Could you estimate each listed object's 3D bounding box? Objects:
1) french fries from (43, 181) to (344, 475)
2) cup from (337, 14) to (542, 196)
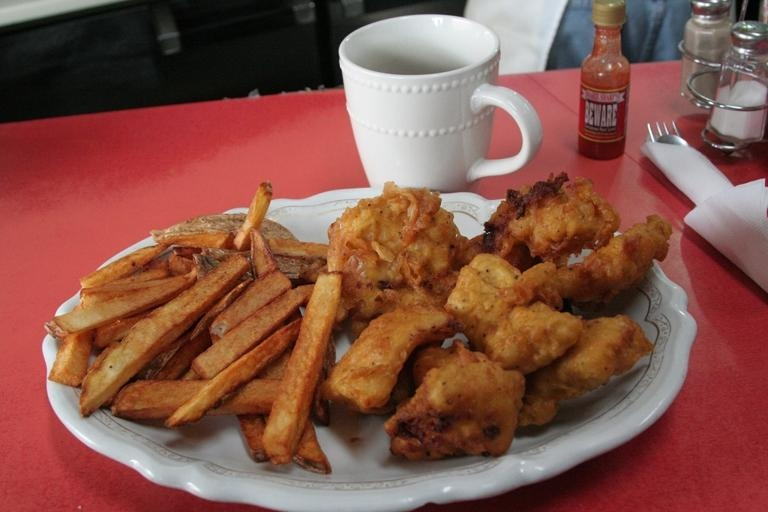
[{"bbox_3d":[-0.377,0.141,1.412,0.607,0.218,0.604,7,50,5],"label":"french fries"},{"bbox_3d":[0.139,-0.384,1.650,0.465,0.392,0.338,-7,38,-2],"label":"cup"}]
